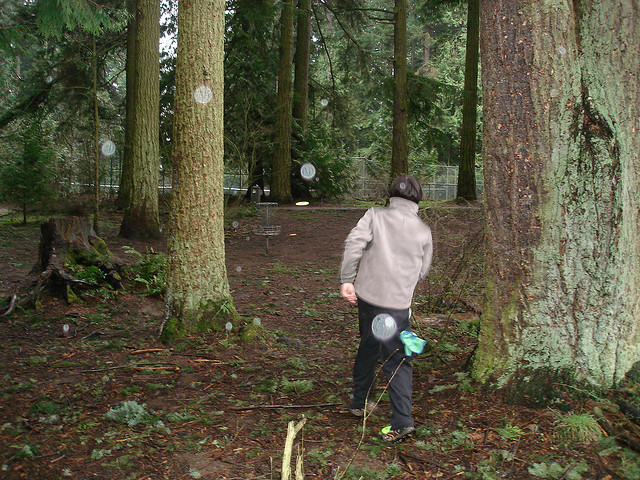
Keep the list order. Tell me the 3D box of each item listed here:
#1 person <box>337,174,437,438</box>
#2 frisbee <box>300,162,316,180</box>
[{"bbox_3d":[0.586,0.565,5.487,0.806,2.292,0.582,3,6,10],"label":"person"},{"bbox_3d":[-0.456,-2.546,22.206,0.549,0.622,0.207,2,6,3],"label":"frisbee"}]
